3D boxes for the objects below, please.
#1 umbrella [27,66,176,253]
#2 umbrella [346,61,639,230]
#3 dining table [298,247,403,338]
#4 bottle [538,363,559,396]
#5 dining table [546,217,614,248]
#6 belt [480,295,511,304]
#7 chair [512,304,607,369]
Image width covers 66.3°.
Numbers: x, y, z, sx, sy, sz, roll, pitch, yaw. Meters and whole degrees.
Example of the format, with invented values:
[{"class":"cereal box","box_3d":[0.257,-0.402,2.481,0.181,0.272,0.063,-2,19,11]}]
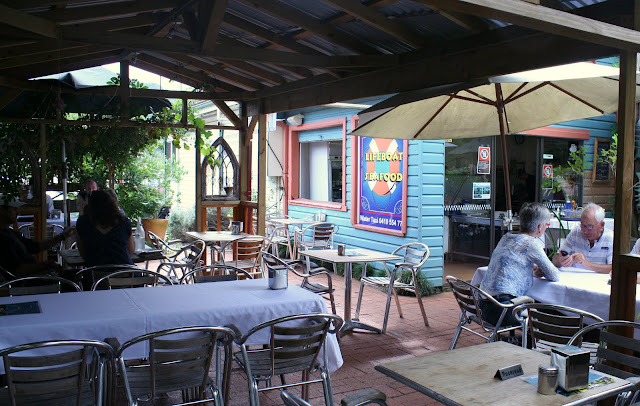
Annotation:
[{"class":"umbrella","box_3d":[-3.768,-1.144,8.852,2.340,1.797,2.236,1,14,-10]},{"class":"umbrella","box_3d":[1.889,-0.719,5.532,2.424,1.651,1.808,7,9,28]},{"class":"dining table","box_3d":[0.397,1.159,6.666,1.239,1.102,1.184,-1,2,-27]},{"class":"bottle","box_3d":[1.356,1.064,2.923,0.115,0.151,0.093,-3,10,-34]},{"class":"dining table","box_3d":[3.351,0.390,6.332,0.669,0.304,0.640,-3,5,-20]},{"class":"belt","box_3d":[1.786,0.973,4.959,0.258,0.086,0.177,-2,2,-11]},{"class":"chair","box_3d":[1.900,1.054,3.854,0.523,0.629,0.488,9,19,41]}]
